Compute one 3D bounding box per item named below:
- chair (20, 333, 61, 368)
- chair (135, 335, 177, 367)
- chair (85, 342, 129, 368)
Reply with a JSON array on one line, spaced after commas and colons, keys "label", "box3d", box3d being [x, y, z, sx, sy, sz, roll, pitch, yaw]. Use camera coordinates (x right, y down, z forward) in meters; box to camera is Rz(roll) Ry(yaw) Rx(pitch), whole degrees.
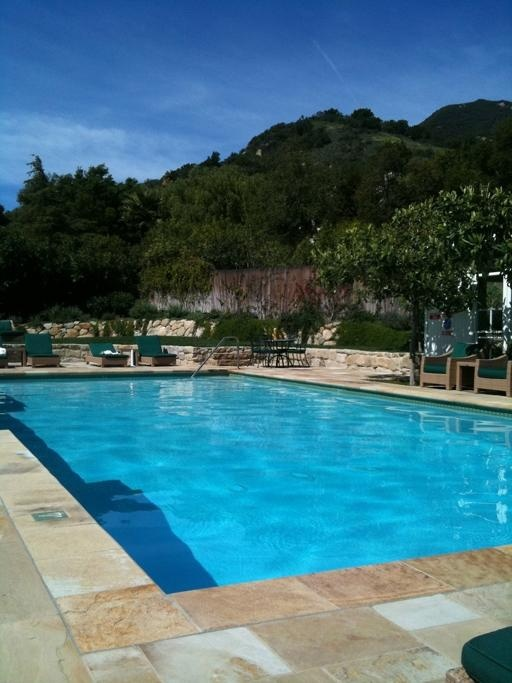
[{"label": "chair", "box3d": [-5.993, 0.247, 16.917, 0.788, 0.781, 1.279, -1, 2, -25]}, {"label": "chair", "box3d": [-2.815, 0.309, 17.612, 0.763, 0.740, 1.271, -2, 3, -32]}, {"label": "chair", "box3d": [-4.178, 0.394, 17.163, 0.676, 0.471, 1.171, -2, 2, -27]}]
